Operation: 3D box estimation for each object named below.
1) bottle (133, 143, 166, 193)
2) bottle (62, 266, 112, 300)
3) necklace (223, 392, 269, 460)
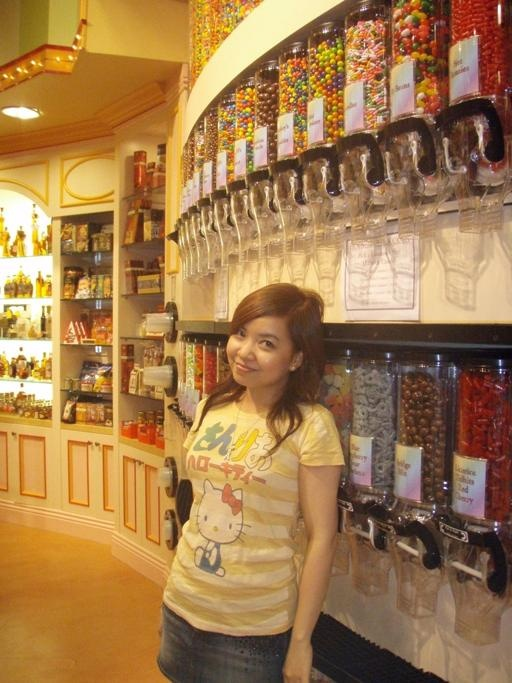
[{"bbox_3d":[-0.720,-1.166,3.504,0.182,0.350,0.328,2,-2,-18],"label":"bottle"},{"bbox_3d":[-1.295,-0.439,4.048,0.428,0.256,0.305,1,7,19],"label":"bottle"},{"bbox_3d":[-0.020,0.197,1.217,0.029,0.120,0.116,20,-22,-31],"label":"necklace"}]
